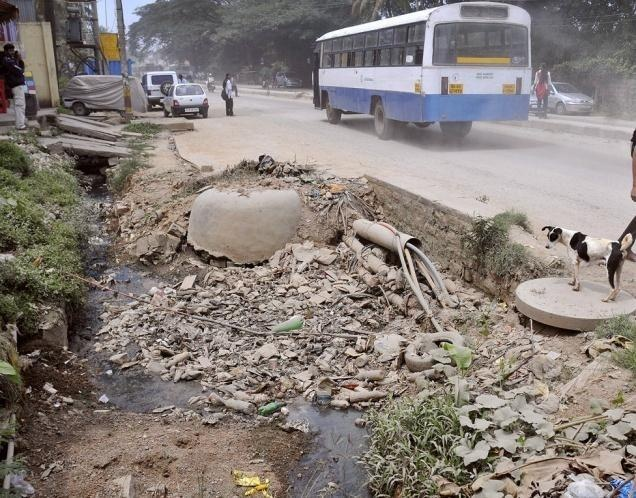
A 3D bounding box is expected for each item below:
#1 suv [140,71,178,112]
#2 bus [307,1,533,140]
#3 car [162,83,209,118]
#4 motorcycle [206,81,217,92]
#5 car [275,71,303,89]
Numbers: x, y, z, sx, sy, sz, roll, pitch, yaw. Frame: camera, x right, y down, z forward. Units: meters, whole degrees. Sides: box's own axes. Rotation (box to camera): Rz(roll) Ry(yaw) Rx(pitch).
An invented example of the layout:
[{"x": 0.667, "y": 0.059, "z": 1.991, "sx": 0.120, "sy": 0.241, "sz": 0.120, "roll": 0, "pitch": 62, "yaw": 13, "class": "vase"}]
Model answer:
[{"x": -8.405, "y": -8.256, "z": 27.563, "sx": 1.635, "sy": 1.582, "sz": 2.821, "roll": -6, "pitch": 29, "yaw": -14, "class": "suv"}, {"x": 1.611, "y": -6.175, "z": 19.082, "sx": 3.197, "sy": 3.768, "sz": 12.725, "roll": -8, "pitch": 19, "yaw": -28, "class": "bus"}, {"x": -6.264, "y": -6.979, "z": 24.349, "sx": 1.238, "sy": 1.152, "sz": 2.354, "roll": -6, "pitch": 25, "yaw": -15, "class": "car"}, {"x": -9.686, "y": -14.676, "z": 47.103, "sx": 0.542, "sy": 1.039, "sz": 1.911, "roll": -4, "pitch": 24, "yaw": -10, "class": "motorcycle"}, {"x": -2.930, "y": -14.954, "z": 46.177, "sx": 1.325, "sy": 1.059, "sz": 2.327, "roll": -11, "pitch": 22, "yaw": -26, "class": "car"}]
